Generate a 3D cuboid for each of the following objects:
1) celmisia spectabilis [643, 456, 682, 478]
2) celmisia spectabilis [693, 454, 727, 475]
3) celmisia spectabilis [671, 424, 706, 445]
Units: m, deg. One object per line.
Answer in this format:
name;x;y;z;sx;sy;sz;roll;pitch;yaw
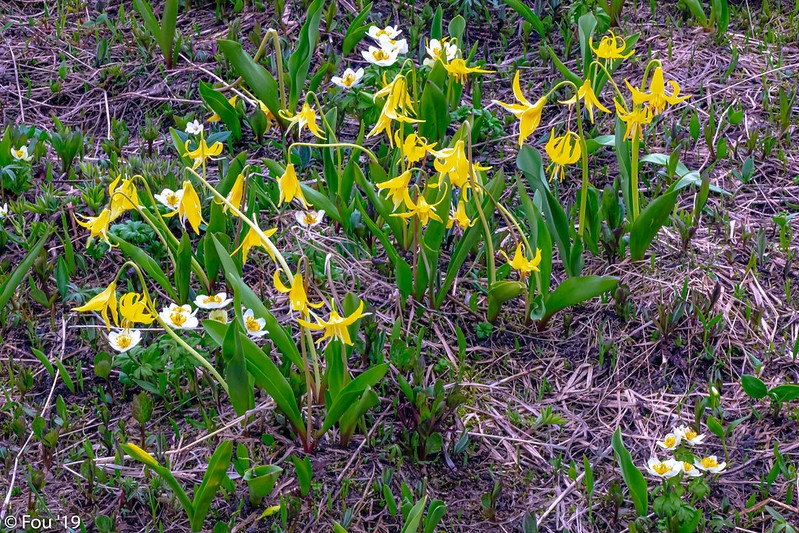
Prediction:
celmisia spectabilis;1.172;0.888;3.078;0.083;0.109;0.061;2;97;-2
celmisia spectabilis;1.389;0.883;3.104;0.086;0.107;0.066;0;99;-5
celmisia spectabilis;1.339;0.763;3.201;0.113;0.111;0.059;31;111;21
